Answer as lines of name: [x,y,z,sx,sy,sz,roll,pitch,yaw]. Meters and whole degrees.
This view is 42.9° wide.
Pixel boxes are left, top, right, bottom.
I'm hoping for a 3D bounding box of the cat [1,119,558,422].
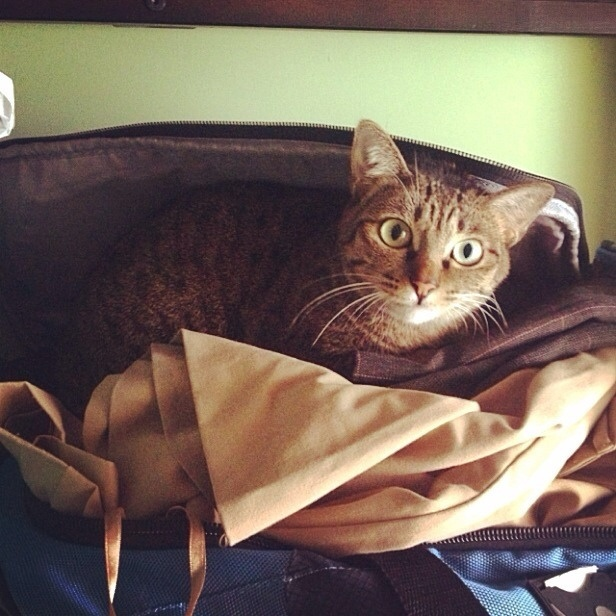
cat: [-0.023,-0.104,1.280,0.760,0.291,0.451,-3,98,3]
